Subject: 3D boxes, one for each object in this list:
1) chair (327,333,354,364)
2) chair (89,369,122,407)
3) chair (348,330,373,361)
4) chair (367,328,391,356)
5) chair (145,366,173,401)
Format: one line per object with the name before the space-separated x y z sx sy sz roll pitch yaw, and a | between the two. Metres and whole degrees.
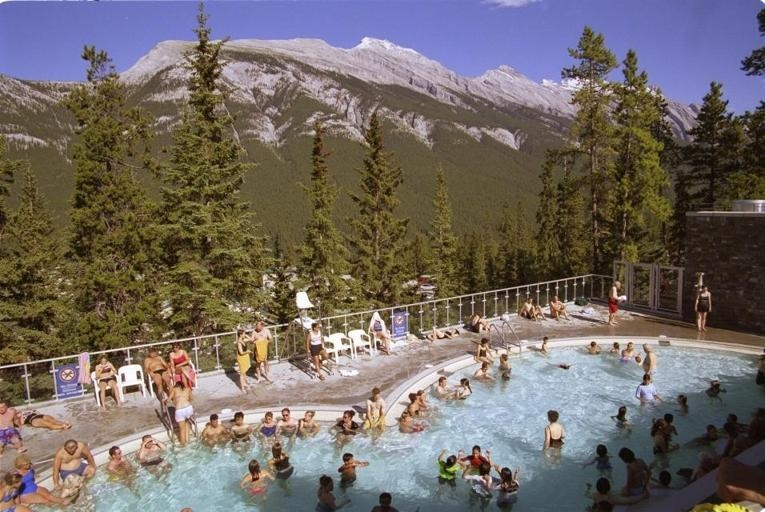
chair | -1.893 4.485 26.474 1.446 1.720 1.188 -1 1 -30
chair | -11.972 5.677 23.329 1.319 1.952 1.381 2 -5 -30
chair | -1.107 4.259 27.070 1.234 1.615 1.142 -3 2 -28
chair | -0.152 4.266 27.295 1.072 1.547 1.092 -1 1 19
chair | -9.271 5.232 22.887 0.942 2.085 0.652 4 -37 -31
